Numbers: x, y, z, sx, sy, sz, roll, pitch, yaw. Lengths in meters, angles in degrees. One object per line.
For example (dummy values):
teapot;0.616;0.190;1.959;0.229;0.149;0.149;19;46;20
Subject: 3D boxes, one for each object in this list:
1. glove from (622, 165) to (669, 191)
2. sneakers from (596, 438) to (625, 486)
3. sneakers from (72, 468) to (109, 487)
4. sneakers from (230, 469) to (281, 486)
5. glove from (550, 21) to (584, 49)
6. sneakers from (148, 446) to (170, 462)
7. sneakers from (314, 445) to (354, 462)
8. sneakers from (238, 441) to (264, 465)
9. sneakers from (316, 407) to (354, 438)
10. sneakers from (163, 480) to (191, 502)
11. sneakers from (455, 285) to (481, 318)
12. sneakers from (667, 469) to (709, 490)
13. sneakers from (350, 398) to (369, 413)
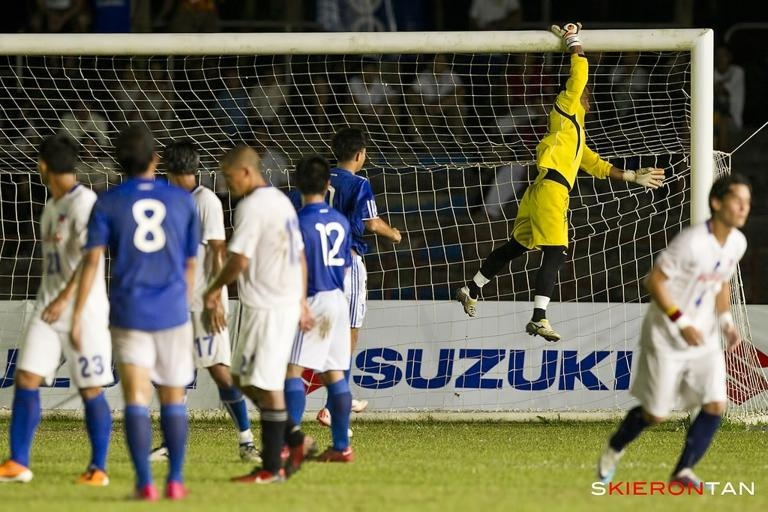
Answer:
glove;2.705;-0.851;10.071;0.362;0.243;0.110;9;32;7
sneakers;1.759;1.622;7.592;0.157;0.403;0.131;12;10;-5
sneakers;-2.274;1.725;7.556;0.208;0.092;0.129;4;-4;5
sneakers;-0.995;1.742;7.569;0.379;0.146;0.144;4;-13;-4
glove;1.877;-2.290;9.889;0.262;0.281;0.123;25;32;15
sneakers;-1.989;1.732;8.551;0.147;0.125;0.284;0;0;-15
sneakers;-0.428;1.724;8.423;0.355;0.158;0.126;3;-7;-2
sneakers;-1.157;1.721;8.441;0.103;0.139;0.307;2;-6;-28
sneakers;-0.528;1.667;9.658;0.217;0.282;0.637;5;-6;22
sneakers;-1.506;1.706;7.056;0.164;0.129;0.131;0;1;-22
sneakers;0.898;0.488;10.295;0.205;0.435;0.151;-9;23;21
sneakers;2.325;1.714;7.400;0.289;0.142;0.117;1;0;-2
sneakers;-0.257;1.528;9.984;0.154;0.126;0.338;24;-5;4
